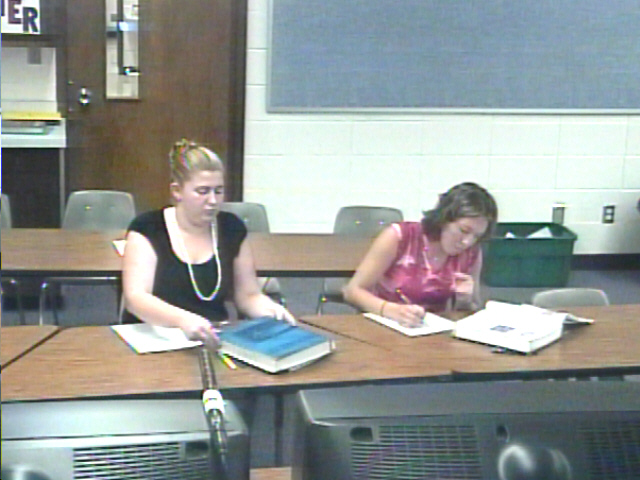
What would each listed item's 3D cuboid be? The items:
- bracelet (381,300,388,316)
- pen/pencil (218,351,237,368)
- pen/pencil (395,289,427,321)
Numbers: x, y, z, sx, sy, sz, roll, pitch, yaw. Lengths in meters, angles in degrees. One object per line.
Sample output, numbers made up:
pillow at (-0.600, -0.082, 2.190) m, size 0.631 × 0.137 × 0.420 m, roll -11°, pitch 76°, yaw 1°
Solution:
bracelet at (0.090, 0.095, 0.948) m, size 0.004 × 0.016 × 0.016 m, roll 14°, pitch -6°, yaw -6°
pen/pencil at (-0.111, 0.149, 0.830) m, size 0.010 × 0.007 × 0.036 m, roll -15°, pitch 33°, yaw -23°
pen/pencil at (0.126, 0.079, 0.960) m, size 0.018 × 0.069 × 0.019 m, roll -30°, pitch -14°, yaw -5°
